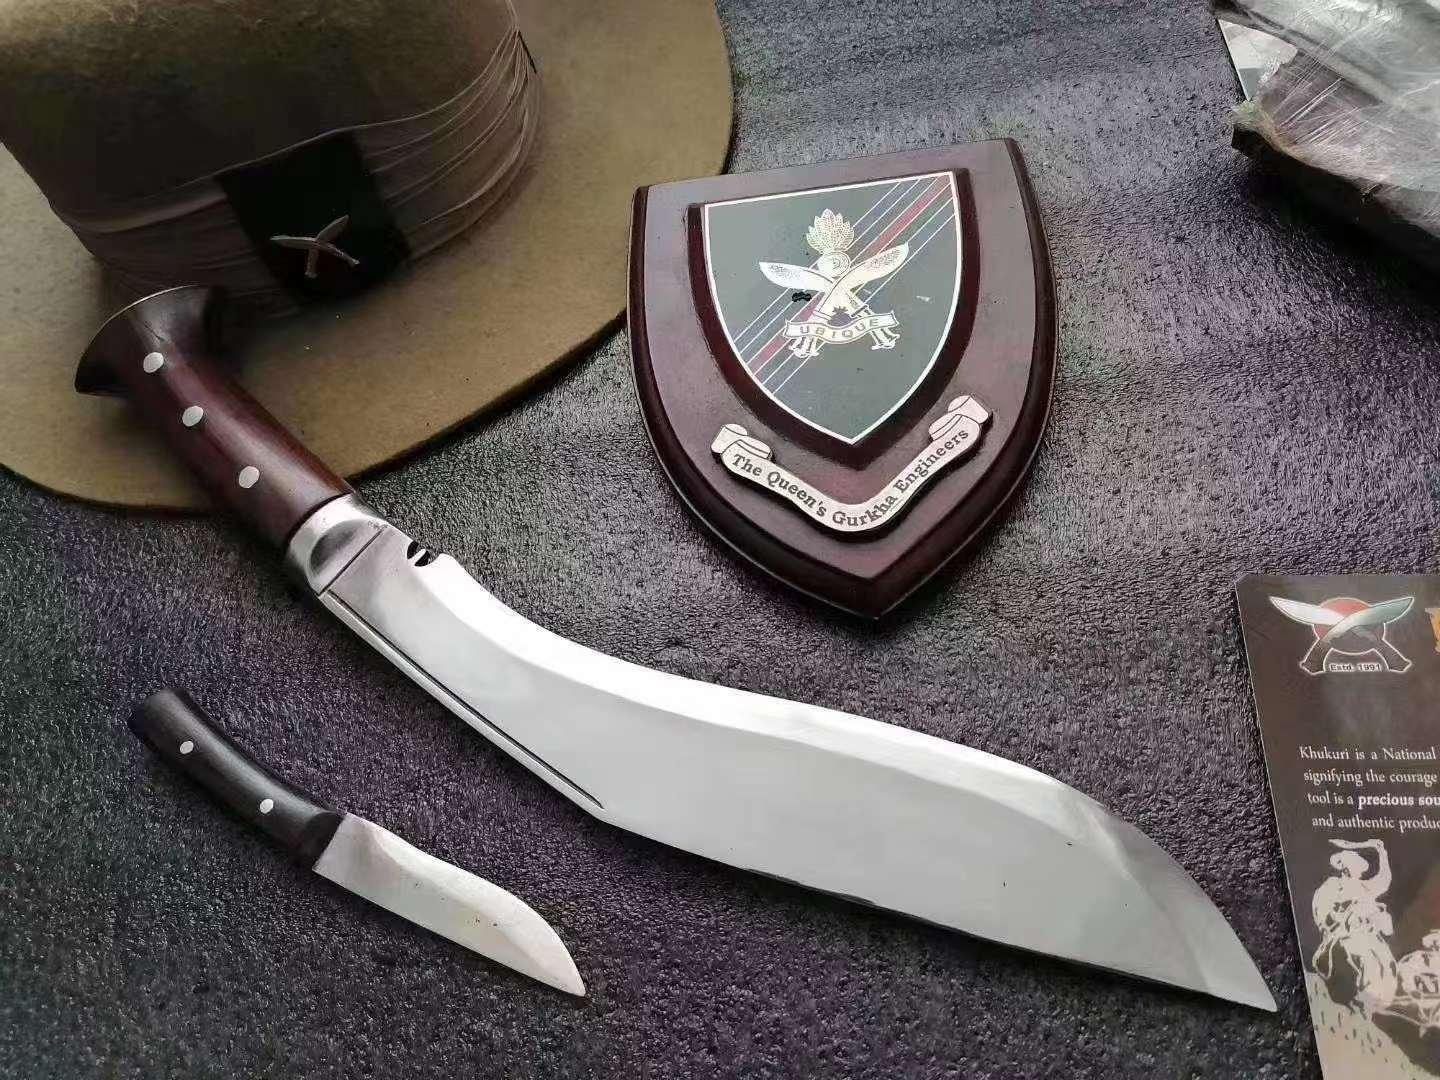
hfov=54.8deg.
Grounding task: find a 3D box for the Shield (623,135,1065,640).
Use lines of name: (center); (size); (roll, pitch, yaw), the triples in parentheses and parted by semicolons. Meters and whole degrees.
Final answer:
Shield: (0.106, -0.131, 1.193); (0.358, 0.067, 0.513); (-5, 52, 5)
